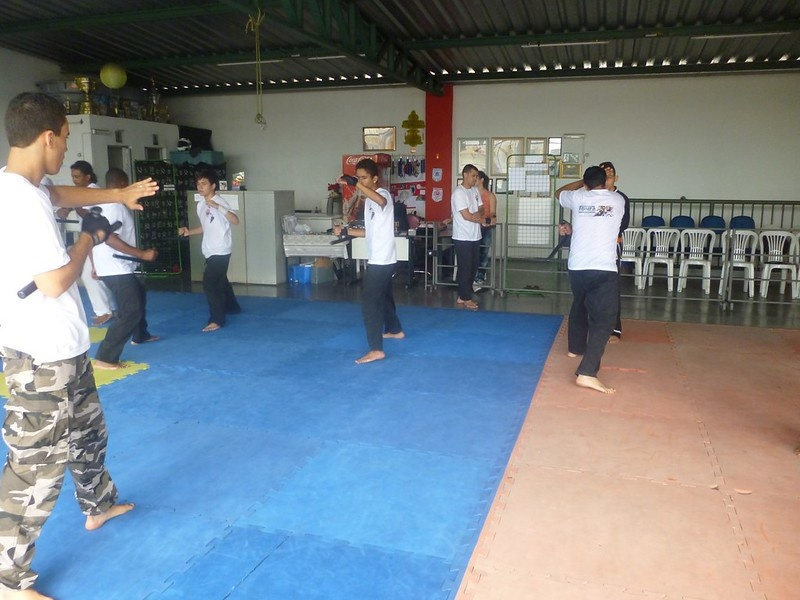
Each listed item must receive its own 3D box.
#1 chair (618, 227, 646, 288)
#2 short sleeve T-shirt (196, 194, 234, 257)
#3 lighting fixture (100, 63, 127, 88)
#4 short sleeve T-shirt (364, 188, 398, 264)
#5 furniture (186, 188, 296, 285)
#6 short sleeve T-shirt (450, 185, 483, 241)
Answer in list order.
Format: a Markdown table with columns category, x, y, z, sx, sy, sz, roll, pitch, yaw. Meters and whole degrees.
| category | x | y | z | sx | sy | sz | roll | pitch | yaw |
| --- | --- | --- | --- | --- | --- | --- | --- | --- | --- |
| chair | 4.076 | -0.792 | 10.007 | 0.576 | 0.900 | 0.673 | 2 | 8 | 24 |
| short sleeve T-shirt | -2.249 | -0.890 | 6.919 | 0.377 | 0.748 | 0.385 | -5 | 15 | -17 |
| lighting fixture | -5.417 | -4.253 | 10.684 | 0.391 | 0.417 | 0.295 | -10 | 17 | -32 |
| short sleeve T-shirt | -0.206 | -0.757 | 5.918 | 0.307 | 0.772 | 0.354 | -1 | 15 | -2 |
| furniture | -2.454 | -1.216 | 10.807 | 1.044 | 1.787 | 1.947 | -7 | 7 | -8 |
| short sleeve T-shirt | 0.992 | -1.227 | 8.112 | 0.523 | 0.791 | 0.294 | -13 | 19 | -39 |
